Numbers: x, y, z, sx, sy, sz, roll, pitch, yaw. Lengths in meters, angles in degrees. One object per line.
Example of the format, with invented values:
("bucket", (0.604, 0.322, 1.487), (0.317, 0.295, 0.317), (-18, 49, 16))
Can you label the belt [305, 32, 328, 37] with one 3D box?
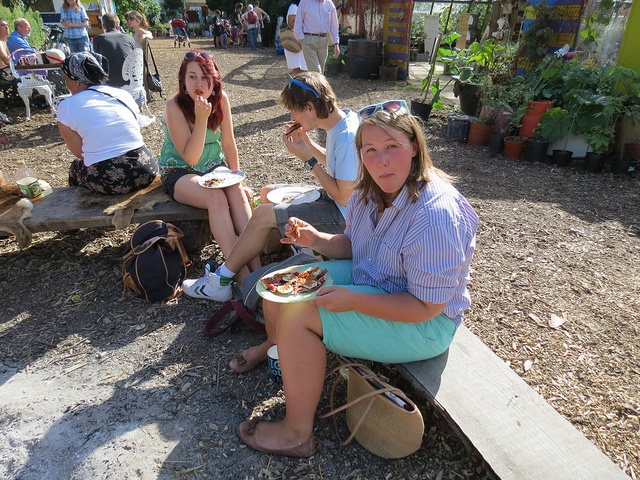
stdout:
("belt", (-0.080, -4.371, 8.473), (0.515, 0.085, 0.134), (-14, 30, -24))

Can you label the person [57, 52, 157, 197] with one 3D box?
("person", (-2.132, -1.142, 3.923), (0.801, 1.268, 0.639), (11, 29, 22))

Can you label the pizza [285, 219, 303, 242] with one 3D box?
("pizza", (-0.179, -0.060, 2.788), (0.078, 0.088, 0.146), (27, 14, -4))

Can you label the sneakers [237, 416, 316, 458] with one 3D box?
("sneakers", (-0.272, 1.222, 2.489), (0.425, 0.163, 0.211), (11, 28, 1))

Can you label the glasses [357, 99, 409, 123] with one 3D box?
("glasses", (0.362, -0.747, 2.276), (0.273, 0.096, 0.222), (-2, 27, -3))

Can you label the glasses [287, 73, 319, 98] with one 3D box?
("glasses", (-0.136, -1.187, 3.171), (0.192, 0.061, 0.194), (26, 8, -17))

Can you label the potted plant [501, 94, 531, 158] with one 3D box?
("potted plant", (3.275, -1.936, 6.783), (0.398, 0.932, 0.693), (8, 28, 16))

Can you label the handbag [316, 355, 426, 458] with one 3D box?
("handbag", (0.302, 1.002, 2.502), (0.393, 0.514, 0.709), (-30, 41, -34))

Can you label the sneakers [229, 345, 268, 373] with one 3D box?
("sneakers", (-0.503, 0.902, 3.006), (0.318, 0.097, 0.150), (-25, 63, -8))

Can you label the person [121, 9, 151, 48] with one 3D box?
("person", (-4.143, -4.788, 8.907), (0.542, 0.767, 0.406), (26, 44, -2))

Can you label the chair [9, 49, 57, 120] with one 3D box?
("chair", (-6.197, -3.428, 8.628), (0.613, 1.271, 2.087), (-17, 31, -29))
